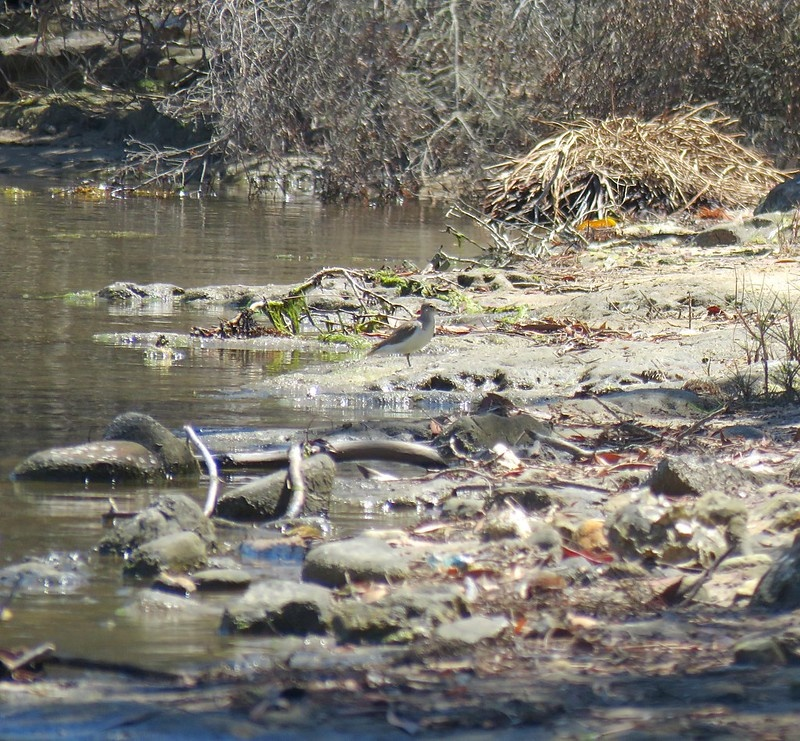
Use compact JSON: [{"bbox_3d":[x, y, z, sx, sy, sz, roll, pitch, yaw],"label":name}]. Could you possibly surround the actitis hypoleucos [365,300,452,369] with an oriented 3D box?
[{"bbox_3d":[0.036,-0.220,9.853,0.240,0.398,0.434,-2,9,-23],"label":"actitis hypoleucos"}]
